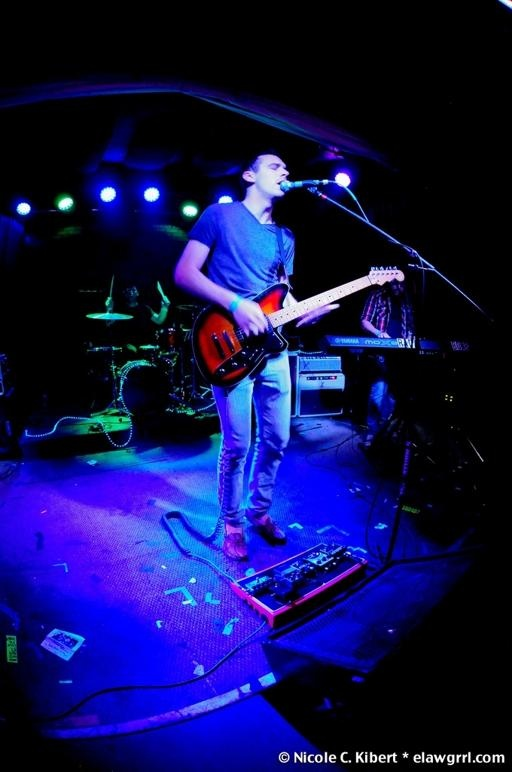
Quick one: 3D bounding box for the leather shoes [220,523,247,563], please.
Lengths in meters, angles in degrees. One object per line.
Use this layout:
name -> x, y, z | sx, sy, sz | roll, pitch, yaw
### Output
leather shoes -> -0.098, 0.716, 2.663 | 0.074, 0.073, 0.180 | 8, 1, -15

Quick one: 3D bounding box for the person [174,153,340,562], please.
person -> 0.022, -0.167, 2.652 | 0.613, 1.814, 0.446 | -2, 3, -40

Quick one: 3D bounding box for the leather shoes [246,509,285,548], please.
leather shoes -> 0.053, 0.695, 2.890 | 0.253, 0.108, 0.087 | 35, 4, 33

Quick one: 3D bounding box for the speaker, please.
speaker -> 0.365, 0.949, 2.129 | 0.372, 0.312, 0.991 | 14, 0, 28

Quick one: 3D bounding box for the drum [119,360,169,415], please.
drum -> -0.977, 0.022, 5.166 | 0.208, 0.489, 0.512 | 8, 13, 38

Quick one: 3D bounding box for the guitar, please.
guitar -> 0.257, -0.332, 3.241 | 1.164, 0.443, 0.163 | -29, 12, -19
